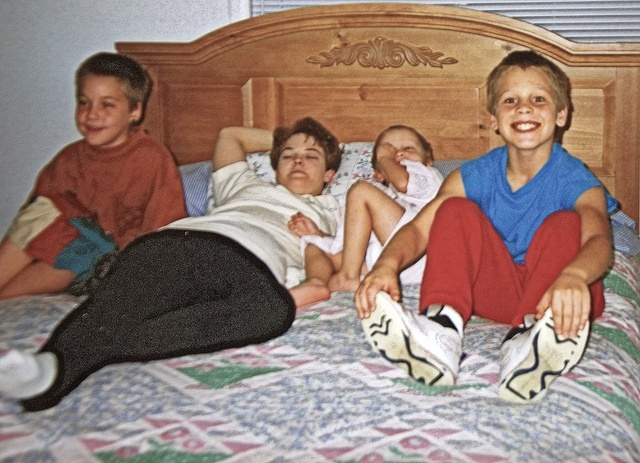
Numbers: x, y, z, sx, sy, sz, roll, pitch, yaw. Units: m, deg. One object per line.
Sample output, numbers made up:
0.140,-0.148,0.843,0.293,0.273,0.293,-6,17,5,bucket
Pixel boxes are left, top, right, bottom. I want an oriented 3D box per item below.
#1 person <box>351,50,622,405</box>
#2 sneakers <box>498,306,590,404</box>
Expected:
0.445,-0.053,1.210,0.521,0.751,0.829,1,2,33,person
0.449,0.250,0.976,0.071,0.186,0.088,39,3,7,sneakers
